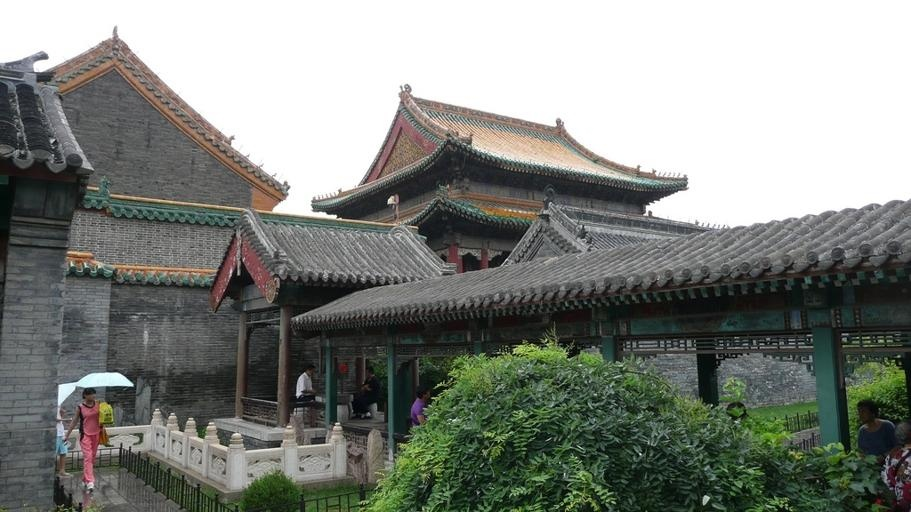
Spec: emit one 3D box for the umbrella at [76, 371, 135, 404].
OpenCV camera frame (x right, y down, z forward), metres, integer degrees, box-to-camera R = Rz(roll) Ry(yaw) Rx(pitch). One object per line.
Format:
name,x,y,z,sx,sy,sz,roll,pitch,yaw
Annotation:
umbrella,-9.327,3.498,19.878,1.696,0.897,1.659,1,-3,-35

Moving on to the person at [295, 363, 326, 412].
person,-3.932,3.527,20.369,0.645,1.293,1.229,2,-15,-10

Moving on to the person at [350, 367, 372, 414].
person,-2.559,3.945,21.440,0.440,1.297,1.014,10,-18,-32
